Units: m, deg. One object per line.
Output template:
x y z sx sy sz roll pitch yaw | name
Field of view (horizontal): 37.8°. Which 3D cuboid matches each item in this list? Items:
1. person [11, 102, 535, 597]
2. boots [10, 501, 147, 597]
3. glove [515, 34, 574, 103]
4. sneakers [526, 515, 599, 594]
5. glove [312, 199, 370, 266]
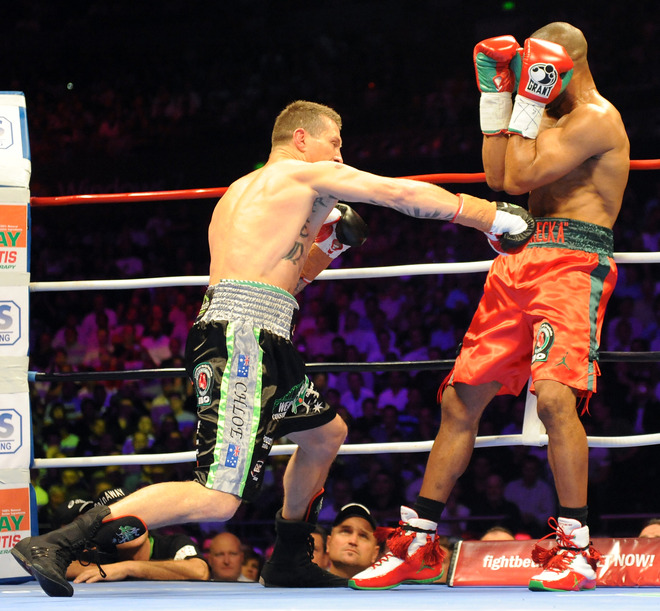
-0.233 0.268 3.288 1.618 1.532 0.480 1 5 -17 | person
-0.838 0.779 3.003 0.314 0.292 0.116 1 5 -14 | boots
0.761 -0.824 3.405 0.193 0.232 0.153 3 5 3 | glove
0.783 0.830 3.189 0.218 0.229 0.175 3 5 13 | sneakers
0.046 -0.266 3.646 0.122 0.165 0.232 13 -43 -43 | glove
